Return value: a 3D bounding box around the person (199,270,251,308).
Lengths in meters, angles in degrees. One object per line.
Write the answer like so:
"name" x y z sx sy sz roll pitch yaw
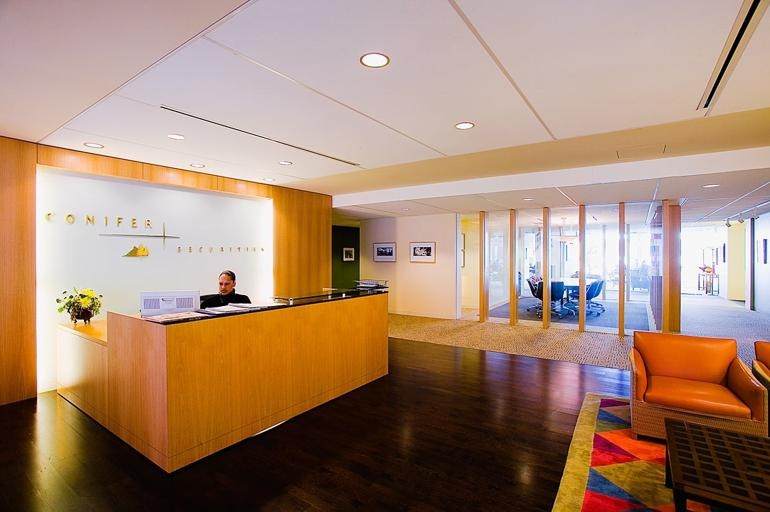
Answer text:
"person" -2.361 0.542 7.227 0.787 0.579 0.387 -1 -3 0

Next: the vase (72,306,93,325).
"vase" -4.243 0.849 6.816 0.251 0.182 0.256 -1 -3 29

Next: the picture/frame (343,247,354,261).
"picture/frame" -1.071 -0.061 14.175 0.048 0.311 0.408 -1 -4 33

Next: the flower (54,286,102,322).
"flower" -4.394 0.712 7.011 0.573 0.487 0.568 11 -12 -42

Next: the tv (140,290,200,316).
"tv" -2.495 0.536 5.596 0.619 0.262 0.142 -4 15 -19

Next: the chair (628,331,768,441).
"chair" 3.850 1.610 5.974 1.396 1.102 1.298 -3 -7 29

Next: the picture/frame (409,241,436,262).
"picture/frame" 1.003 -0.113 12.205 0.611 0.390 0.024 0 0 35
